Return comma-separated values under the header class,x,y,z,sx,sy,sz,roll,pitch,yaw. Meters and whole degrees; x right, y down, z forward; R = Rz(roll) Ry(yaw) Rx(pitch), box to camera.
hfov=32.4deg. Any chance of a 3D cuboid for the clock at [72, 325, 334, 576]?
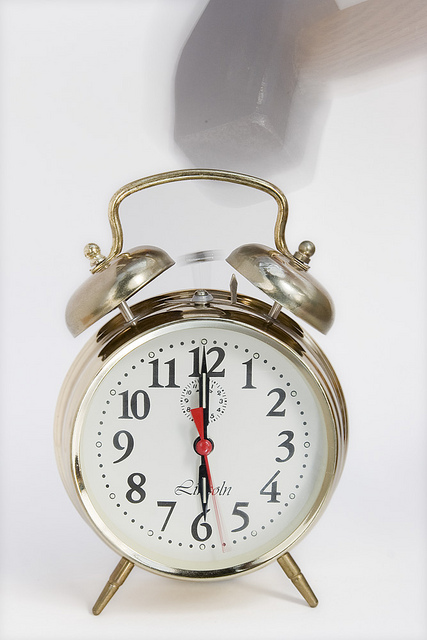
class,x,y,z,sx,sy,sz,roll,pitch,yaw
clock,-0.016,0.191,1.120,0.434,0.119,0.376,-1,-83,-2
